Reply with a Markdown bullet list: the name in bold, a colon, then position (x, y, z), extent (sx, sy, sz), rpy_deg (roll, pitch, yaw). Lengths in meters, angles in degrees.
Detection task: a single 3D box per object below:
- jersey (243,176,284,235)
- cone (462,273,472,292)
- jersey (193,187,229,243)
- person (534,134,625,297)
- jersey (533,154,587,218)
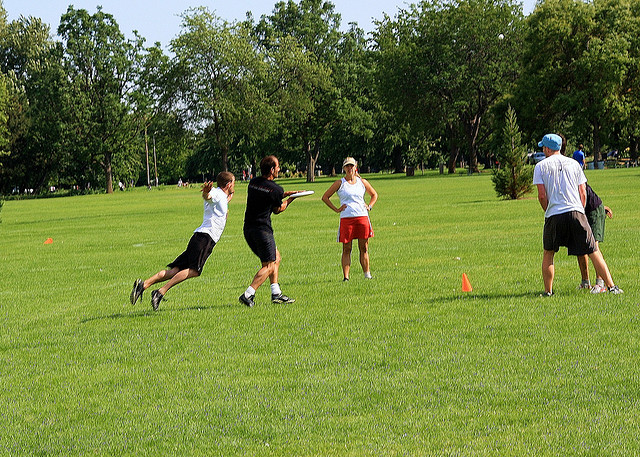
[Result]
- **jersey**: position (-0.932, -0.383, 14.333), extent (0.691, 0.985, 0.357), rpy_deg (-3, 7, -4)
- **cone**: position (2.586, 0.943, 14.907), extent (0.161, 0.267, 0.497), rpy_deg (-1, 8, 10)
- **jersey**: position (-1.805, -0.216, 14.374), extent (0.419, 0.978, 0.560), rpy_deg (0, 7, 19)
- **person**: position (4.175, -0.208, 13.695), extent (1.223, 2.768, 0.854), rpy_deg (-3, -3, 30)
- **jersey**: position (3.874, -0.677, 13.678), extent (0.856, 1.037, 0.554), rpy_deg (-3, -7, 2)
